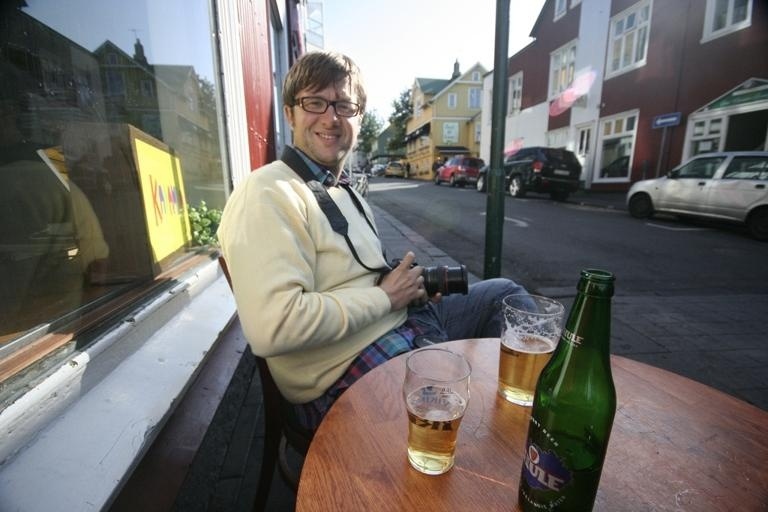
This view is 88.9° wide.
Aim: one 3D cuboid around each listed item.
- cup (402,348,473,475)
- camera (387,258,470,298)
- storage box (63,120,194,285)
[{"bbox_3d":[0.181,0.533,1.386,0.225,0.365,0.234,2,15,0],"label":"cup"},{"bbox_3d":[0.271,0.130,2.167,0.382,0.181,0.197,-6,38,1],"label":"camera"},{"bbox_3d":[-1.936,-0.386,3.080,0.443,1.014,1.212,-6,10,-12],"label":"storage box"}]
